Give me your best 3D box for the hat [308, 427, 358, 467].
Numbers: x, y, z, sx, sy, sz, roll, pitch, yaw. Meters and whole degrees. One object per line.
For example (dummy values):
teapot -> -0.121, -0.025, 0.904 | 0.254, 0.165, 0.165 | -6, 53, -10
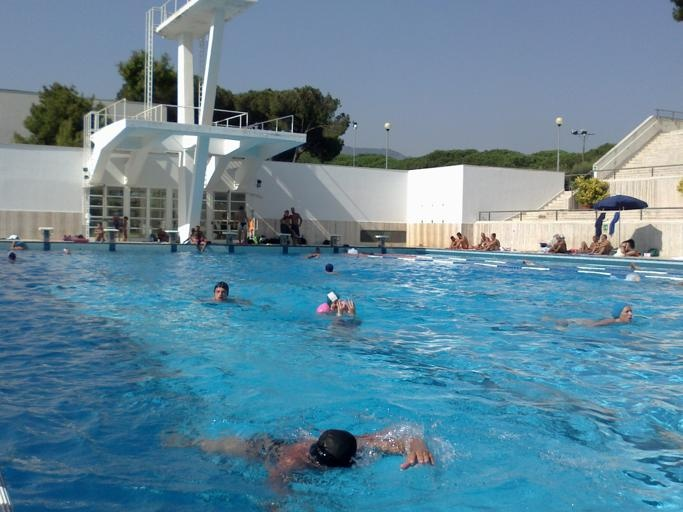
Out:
hat -> -0.067, 1.435, 4.970 | 0.318, 0.279, 0.230 | 31, -3, -24

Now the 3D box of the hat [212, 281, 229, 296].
hat -> -1.758, 0.471, 9.609 | 0.208, 0.216, 0.257 | 8, -1, -3

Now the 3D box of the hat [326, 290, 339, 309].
hat -> -0.134, 0.620, 9.184 | 0.156, 0.214, 0.117 | -22, 47, -32

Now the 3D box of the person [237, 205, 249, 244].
person -> -3.391, -1.084, 22.522 | 0.323, 1.267, 1.008 | 0, 0, -9
